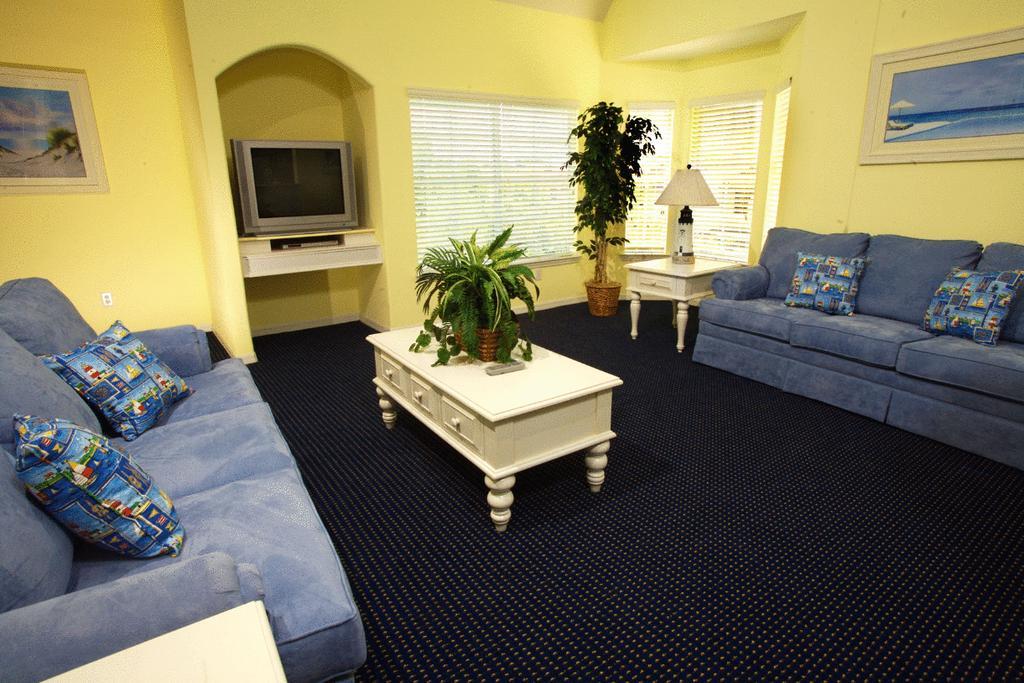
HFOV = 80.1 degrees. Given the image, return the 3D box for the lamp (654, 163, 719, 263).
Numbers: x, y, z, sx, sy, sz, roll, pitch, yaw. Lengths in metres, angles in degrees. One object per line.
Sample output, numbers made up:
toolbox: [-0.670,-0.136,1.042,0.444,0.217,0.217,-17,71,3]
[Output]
lamp: [1.600,-1.215,5.602,0.555,0.797,0.544,10,21,35]

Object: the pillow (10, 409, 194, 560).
pillow: [-1.630,0.587,2.407,0.237,0.399,0.458,-54,7,-31]

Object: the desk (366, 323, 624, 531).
desk: [-0.112,0.455,3.609,0.777,0.778,1.274,-16,23,-38]

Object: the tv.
tv: [-2.022,-1.390,5.476,0.611,0.807,1.155,18,25,40]

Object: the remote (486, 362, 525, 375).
remote: [-0.048,0.143,3.434,0.180,0.031,0.087,-5,9,-22]

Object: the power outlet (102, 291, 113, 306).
power outlet: [-3.504,-0.380,5.260,0.092,0.120,0.030,0,4,-36]

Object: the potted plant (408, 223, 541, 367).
potted plant: [-0.133,-0.273,3.802,0.789,0.839,0.913,4,6,32]
